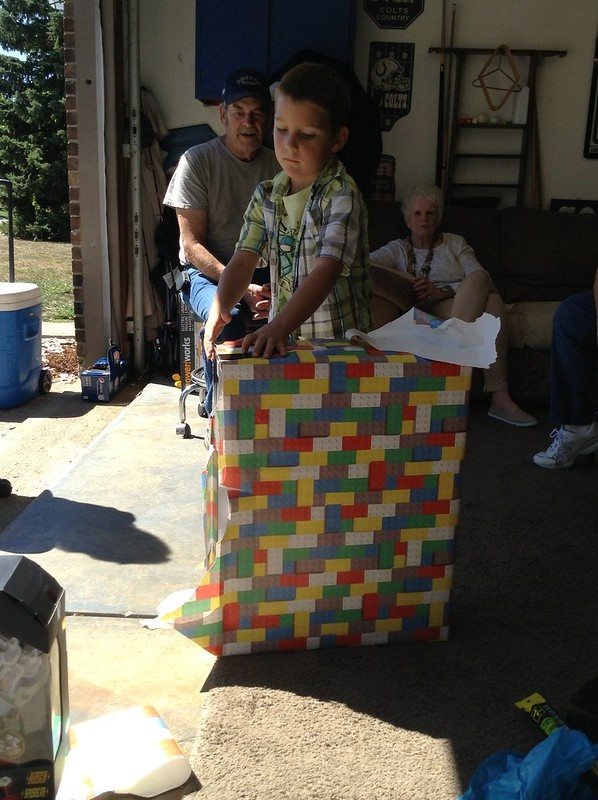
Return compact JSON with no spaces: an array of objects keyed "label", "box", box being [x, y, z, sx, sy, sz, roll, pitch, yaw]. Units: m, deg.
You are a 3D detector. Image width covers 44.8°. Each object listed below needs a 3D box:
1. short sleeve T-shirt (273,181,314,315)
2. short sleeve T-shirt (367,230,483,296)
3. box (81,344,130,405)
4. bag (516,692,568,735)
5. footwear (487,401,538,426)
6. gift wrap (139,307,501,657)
[{"label":"short sleeve T-shirt","box":[-0.032,-0.356,1.735,0.113,0.410,0.080,-4,41,-11]},{"label":"short sleeve T-shirt","box":[0.600,-0.659,3.606,0.413,0.158,0.437,16,-6,-37]},{"label":"box","box":[-0.978,-0.160,3.657,0.158,0.261,0.353,2,17,0]},{"label":"bag","box":[0.395,0.515,1.180,0.034,0.011,0.083,-24,7,1]},{"label":"footwear","box":[0.916,0.063,3.132,0.191,0.072,0.079,19,28,37]},{"label":"gift wrap","box":[0.047,0.188,1.457,0.880,0.779,0.323,0,21,-7]}]
